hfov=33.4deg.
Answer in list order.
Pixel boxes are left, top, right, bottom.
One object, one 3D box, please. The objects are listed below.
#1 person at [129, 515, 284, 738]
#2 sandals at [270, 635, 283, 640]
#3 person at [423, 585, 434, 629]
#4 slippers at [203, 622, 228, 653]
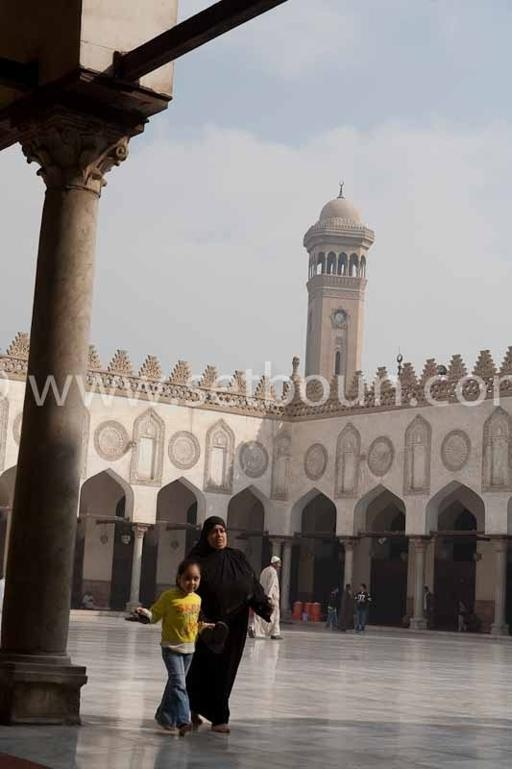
[{"bbox_3d":[-0.145,1.185,4.291,0.444,0.998,0.417,5,-12,-4],"label":"person"},{"bbox_3d":[0.337,4.252,14.281,0.172,0.116,0.058,-2,0,-4],"label":"sandals"},{"bbox_3d":[4.193,5.434,20.793,0.262,0.956,1.478,2,-12,12],"label":"person"},{"bbox_3d":[-0.200,1.241,4.187,0.143,0.144,0.042,-11,8,-19],"label":"slippers"}]
